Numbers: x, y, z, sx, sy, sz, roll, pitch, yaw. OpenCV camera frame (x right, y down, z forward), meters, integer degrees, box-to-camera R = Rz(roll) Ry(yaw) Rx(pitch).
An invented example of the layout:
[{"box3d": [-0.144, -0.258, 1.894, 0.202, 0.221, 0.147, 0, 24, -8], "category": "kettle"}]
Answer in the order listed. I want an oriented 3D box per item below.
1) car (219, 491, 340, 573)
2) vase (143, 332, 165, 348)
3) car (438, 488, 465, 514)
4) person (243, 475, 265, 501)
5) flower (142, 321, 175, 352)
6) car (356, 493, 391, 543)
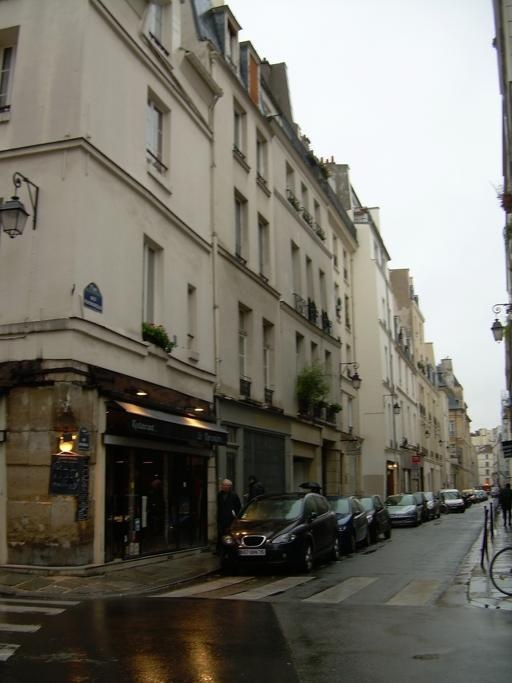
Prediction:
[{"box3d": [0.575, 3.507, 12.890, 1.045, 1.009, 2.451, -6, -19, 16], "category": "car"}, {"box3d": [-1.997, -0.101, 14.038, 0.307, 0.187, 0.321, 17, -5, 4], "category": "vase"}, {"box3d": [11.875, 9.573, 41.891, 1.279, 1.248, 2.330, -4, -27, 0], "category": "car"}, {"box3d": [-0.055, 3.819, 18.007, 0.548, 1.017, 1.061, 1, -14, 4], "category": "person"}, {"box3d": [-1.944, -0.090, 14.111, 0.533, 0.289, 0.558, 13, -12, 8], "category": "flower"}, {"box3d": [3.484, 5.242, 20.612, 0.814, 0.810, 1.576, -7, -24, 11], "category": "car"}]
